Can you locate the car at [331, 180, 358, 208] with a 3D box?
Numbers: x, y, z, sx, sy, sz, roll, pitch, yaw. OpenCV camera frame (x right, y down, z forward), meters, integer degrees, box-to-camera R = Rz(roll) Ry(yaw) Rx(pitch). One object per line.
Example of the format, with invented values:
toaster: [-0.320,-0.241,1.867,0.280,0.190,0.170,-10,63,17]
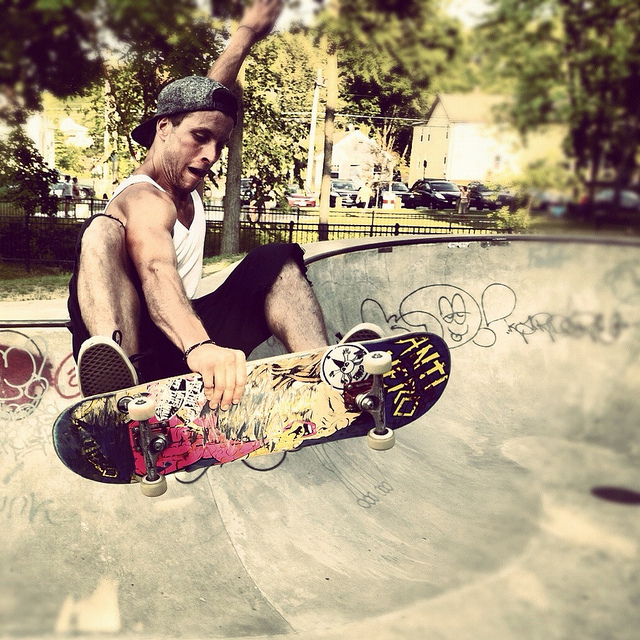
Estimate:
car: [1.104,-5.422,31.488,0.808,0.874,1.721,-2,9,-11]

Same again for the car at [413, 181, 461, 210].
car: [4.114,-4.336,26.242,1.056,1.134,4.278,2,14,0]

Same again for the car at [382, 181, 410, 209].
car: [3.024,-5.236,30.771,1.005,1.084,2.117,0,3,-3]

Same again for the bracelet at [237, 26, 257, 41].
bracelet: [-0.390,-1.566,4.063,0.059,0.017,0.065,20,-2,27]
